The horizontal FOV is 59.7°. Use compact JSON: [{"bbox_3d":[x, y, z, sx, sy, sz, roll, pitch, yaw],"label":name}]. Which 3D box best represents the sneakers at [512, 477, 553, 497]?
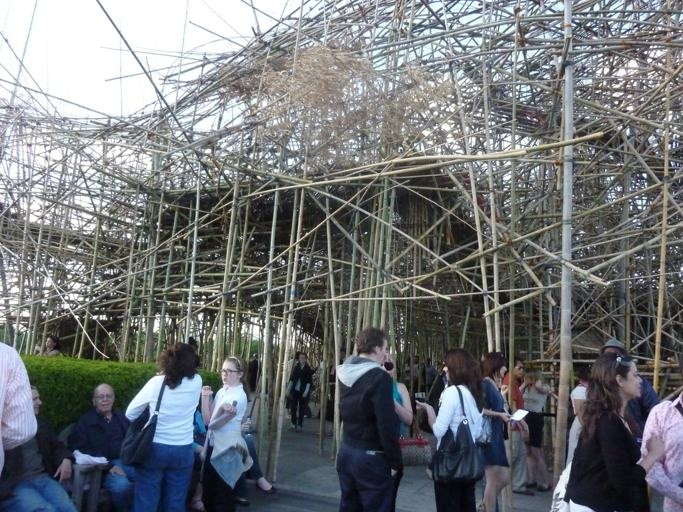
[{"bbox_3d":[2.629,3.236,8.297,0.664,0.269,0.224,11,-18,-22],"label":"sneakers"}]

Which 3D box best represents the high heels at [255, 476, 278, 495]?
[{"bbox_3d":[-0.966,2.959,7.643,0.249,0.084,0.140,12,-3,44],"label":"high heels"}]

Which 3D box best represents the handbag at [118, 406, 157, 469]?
[{"bbox_3d":[-1.928,1.747,5.695,0.274,0.547,0.203,-4,-13,31],"label":"handbag"}]
